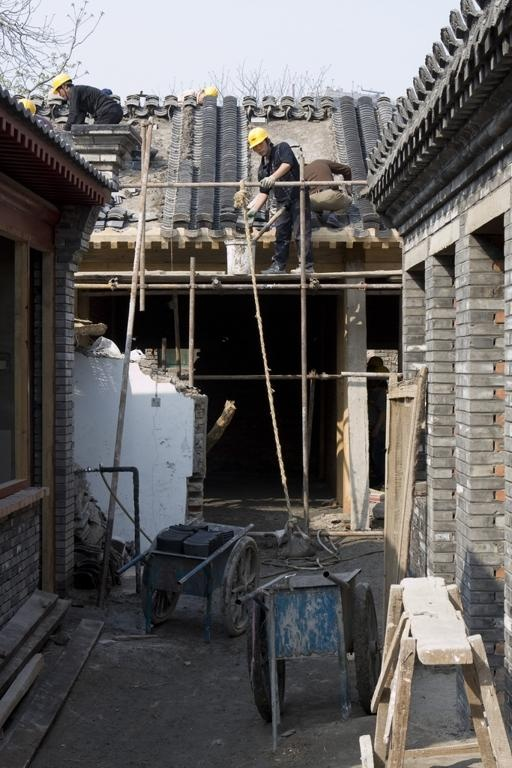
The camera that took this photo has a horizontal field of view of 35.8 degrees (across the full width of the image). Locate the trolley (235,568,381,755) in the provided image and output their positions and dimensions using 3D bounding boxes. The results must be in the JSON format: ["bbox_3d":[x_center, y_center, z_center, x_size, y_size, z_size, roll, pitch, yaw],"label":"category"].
[{"bbox_3d":[0.330,1.502,4.520,0.653,0.721,0.963,-2,0,8],"label":"trolley"}]

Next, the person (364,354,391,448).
[{"bbox_3d":[1.935,0.171,12.819,0.344,1.521,0.414,8,-17,-11],"label":"person"}]

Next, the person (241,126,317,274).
[{"bbox_3d":[0.291,-2.233,9.518,0.761,1.782,0.718,1,-8,-25],"label":"person"}]

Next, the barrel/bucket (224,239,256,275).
[{"bbox_3d":[-0.217,-1.493,9.400,0.384,0.514,0.346,0,-5,-2],"label":"barrel/bucket"}]

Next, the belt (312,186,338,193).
[{"bbox_3d":[0.848,-2.401,9.694,0.147,0.043,0.158,-5,2,26],"label":"belt"}]

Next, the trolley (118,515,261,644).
[{"bbox_3d":[-0.475,1.570,6.237,0.839,0.780,1.318,2,0,13],"label":"trolley"}]

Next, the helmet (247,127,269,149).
[{"bbox_3d":[0.027,-2.987,9.516,0.212,0.315,0.386,2,1,0],"label":"helmet"}]

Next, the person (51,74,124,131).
[{"bbox_3d":[-2.433,-3.955,11.177,0.865,0.434,1.029,-2,-48,-6],"label":"person"}]

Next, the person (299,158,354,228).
[{"bbox_3d":[0.928,-2.500,10.037,0.588,1.029,0.565,-6,-11,-23],"label":"person"}]

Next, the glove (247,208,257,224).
[{"bbox_3d":[-0.059,-2.132,9.993,0.103,0.137,0.142,1,-7,0],"label":"glove"}]

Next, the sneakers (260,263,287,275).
[{"bbox_3d":[0.196,-1.400,9.578,0.352,0.172,0.126,0,2,-6],"label":"sneakers"}]
